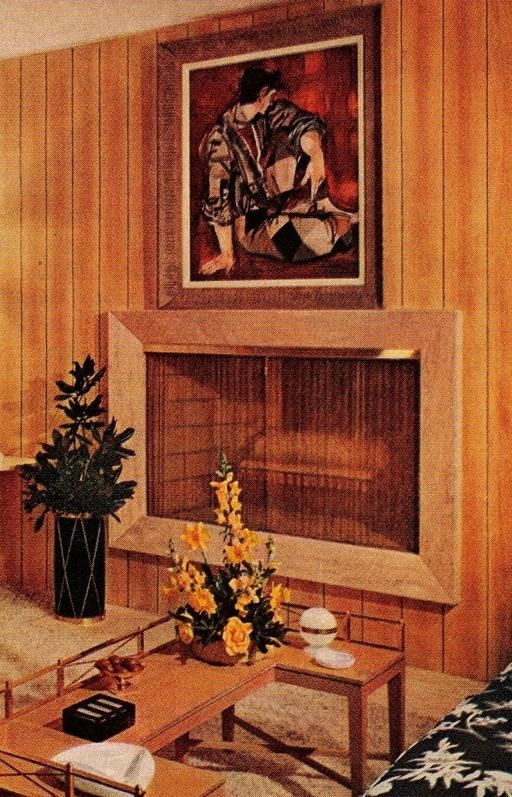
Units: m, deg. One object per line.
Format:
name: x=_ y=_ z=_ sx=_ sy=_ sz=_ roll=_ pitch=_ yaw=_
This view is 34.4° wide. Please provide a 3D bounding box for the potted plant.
potted plant: x=-0.697 y=0.358 z=3.337 sx=0.432 sy=1.013 sz=0.534 roll=-4 pitch=1 yaw=-9
